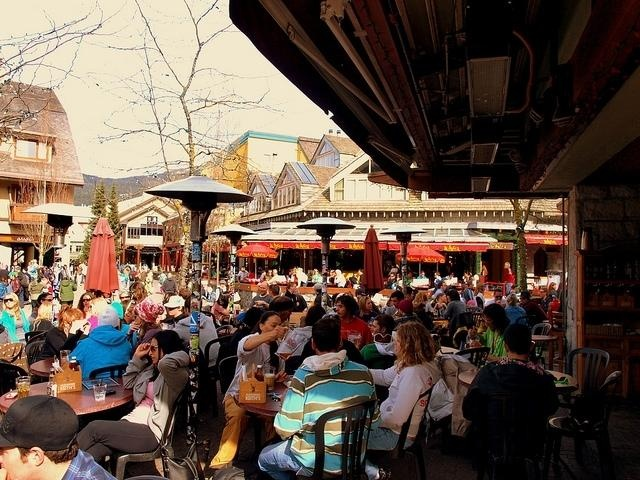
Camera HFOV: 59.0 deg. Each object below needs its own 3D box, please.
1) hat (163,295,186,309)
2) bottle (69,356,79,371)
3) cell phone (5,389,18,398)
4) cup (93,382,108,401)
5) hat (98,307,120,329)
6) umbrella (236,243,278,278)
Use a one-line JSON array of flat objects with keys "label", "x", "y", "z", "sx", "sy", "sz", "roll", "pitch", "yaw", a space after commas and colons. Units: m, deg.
[{"label": "hat", "x": -2.350, "y": 1.020, "z": 9.225, "sx": 0.266, "sy": 0.155, "sz": 0.201, "roll": 8, "pitch": -12, "yaw": -23}, {"label": "bottle", "x": -2.967, "y": 1.487, "z": 6.775, "sx": 0.099, "sy": 0.186, "sz": 0.104, "roll": -1, "pitch": -10, "yaw": 0}, {"label": "cell phone", "x": -3.530, "y": 1.766, "z": 6.436, "sx": 0.109, "sy": 0.030, "sz": 0.118, "roll": 2, "pitch": 2, "yaw": -12}, {"label": "cup", "x": -2.444, "y": 1.696, "z": 6.301, "sx": 0.161, "sy": 0.205, "sz": 0.169, "roll": 1, "pitch": -6, "yaw": 0}, {"label": "hat", "x": -2.710, "y": 1.019, "z": 7.227, "sx": 0.188, "sy": 0.160, "sz": 0.281, "roll": 5, "pitch": 30, "yaw": -24}, {"label": "umbrella", "x": -3.458, "y": 1.219, "z": 30.264, "sx": 2.136, "sy": 2.114, "sz": 2.270, "roll": 5, "pitch": 6, "yaw": 44}]
